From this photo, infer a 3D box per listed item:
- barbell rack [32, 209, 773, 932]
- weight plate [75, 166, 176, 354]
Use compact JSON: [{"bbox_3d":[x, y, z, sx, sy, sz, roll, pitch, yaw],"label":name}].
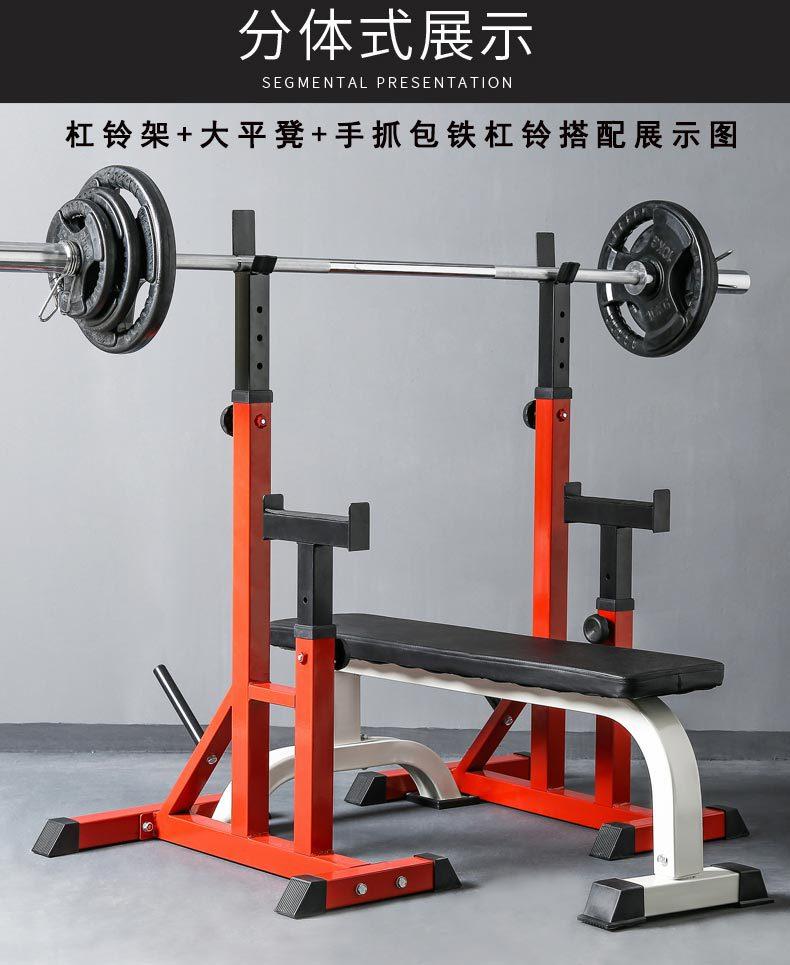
[{"bbox_3d":[0.211,0.021,2.214,1.383,1.370,1.349,-1,3,4],"label":"barbell rack"},{"bbox_3d":[-0.426,-0.359,1.730,0.072,0.298,0.298,3,-4,-32],"label":"weight plate"}]
